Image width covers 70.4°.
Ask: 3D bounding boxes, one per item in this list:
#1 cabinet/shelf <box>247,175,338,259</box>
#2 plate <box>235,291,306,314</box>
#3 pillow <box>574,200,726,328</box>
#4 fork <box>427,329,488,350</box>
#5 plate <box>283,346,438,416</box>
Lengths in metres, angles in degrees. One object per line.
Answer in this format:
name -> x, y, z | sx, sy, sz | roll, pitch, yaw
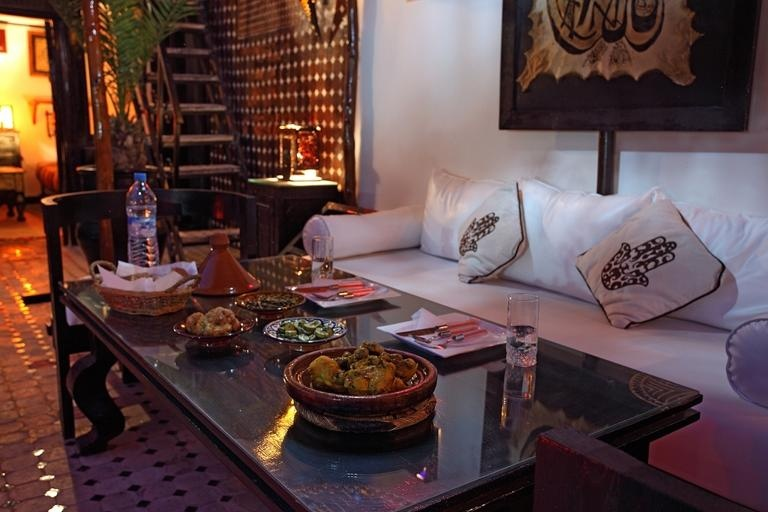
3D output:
cabinet/shelf -> -0.843, -0.300, 4.741 | 0.499, 0.707, 0.645 | -7, 18, -40
plate -> -0.413, 0.160, 1.970 | 0.123, 0.025, 0.121 | 7, 15, 15
pillow -> 1.272, 0.006, 2.459 | 0.539, 0.155, 0.492 | -8, 21, -16
fork -> 0.240, 0.263, 1.741 | 0.203, 0.029, 0.061 | -16, 26, -30
plate -> -0.058, 0.301, 1.364 | 0.373, 0.115, 0.239 | -6, 14, -7
